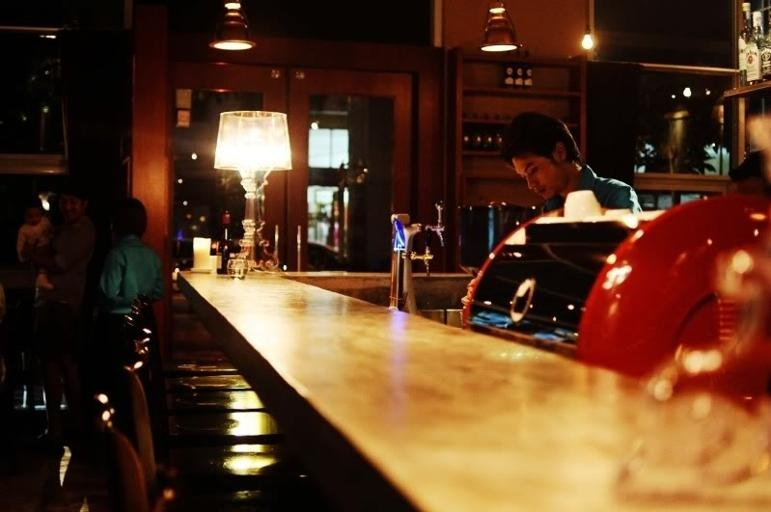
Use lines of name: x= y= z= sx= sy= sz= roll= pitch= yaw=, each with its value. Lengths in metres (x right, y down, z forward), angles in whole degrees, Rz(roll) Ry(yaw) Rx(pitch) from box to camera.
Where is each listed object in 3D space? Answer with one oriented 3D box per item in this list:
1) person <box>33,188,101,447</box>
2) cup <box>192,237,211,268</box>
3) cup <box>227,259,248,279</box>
person: x=-2.192 y=0.363 z=4.547 sx=0.399 sy=1.602 sz=0.856 roll=-5 pitch=7 yaw=-29
cup: x=-1.300 y=-0.018 z=4.684 sx=0.109 sy=0.197 sz=0.198 roll=-3 pitch=6 yaw=-18
cup: x=-0.766 y=0.058 z=3.418 sx=0.097 sy=0.109 sz=0.099 roll=1 pitch=9 yaw=0
